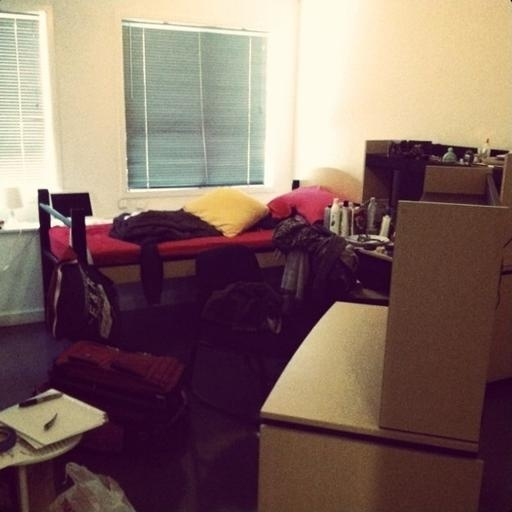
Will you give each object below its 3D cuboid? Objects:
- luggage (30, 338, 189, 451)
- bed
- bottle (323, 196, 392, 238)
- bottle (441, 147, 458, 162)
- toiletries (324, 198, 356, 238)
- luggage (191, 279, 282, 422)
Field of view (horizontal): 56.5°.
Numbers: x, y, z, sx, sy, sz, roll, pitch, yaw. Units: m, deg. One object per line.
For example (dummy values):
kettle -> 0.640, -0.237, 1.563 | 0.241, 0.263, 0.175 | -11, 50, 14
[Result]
luggage -> -0.622, 0.659, 2.201 | 0.526, 0.371, 0.425 | 6, 8, 21
bed -> -0.580, -0.103, 3.662 | 1.933, 1.150, 1.075 | -10, 15, -33
bottle -> 0.685, -0.262, 3.126 | 0.371, 0.430, 0.235 | 9, 12, 28
bottle -> 1.107, -0.576, 2.709 | 0.109, 0.114, 0.058 | 10, 17, 43
toiletries -> 0.553, -0.239, 3.134 | 0.168, 0.346, 0.225 | -7, 14, -29
luggage -> -0.065, 0.455, 2.521 | 0.446, 0.728, 0.165 | 3, -2, 16
